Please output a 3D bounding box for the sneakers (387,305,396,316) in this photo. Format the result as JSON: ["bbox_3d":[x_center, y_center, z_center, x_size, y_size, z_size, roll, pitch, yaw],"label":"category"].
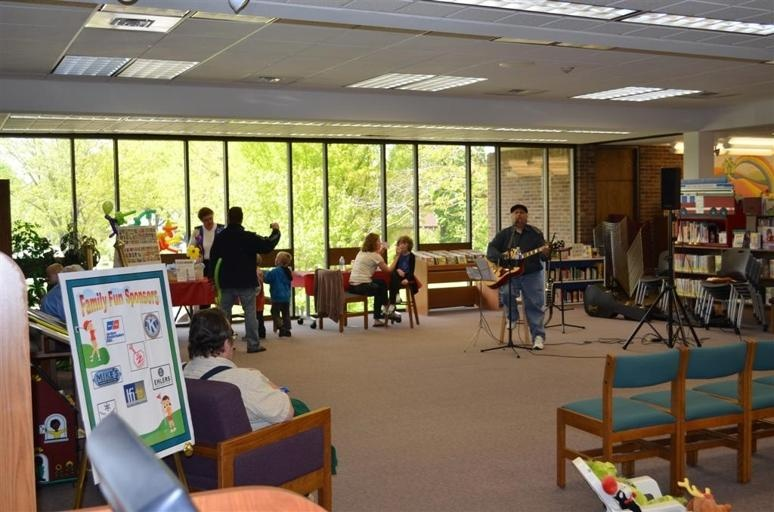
[{"bbox_3d":[0.060,0.986,11.020,0.176,0.193,0.509,-1,-6,4],"label":"sneakers"}]

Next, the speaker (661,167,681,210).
[{"bbox_3d":[4.277,-1.020,8.954,0.252,0.574,0.185,0,-7,39],"label":"speaker"}]

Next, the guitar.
[{"bbox_3d":[1.982,0.137,8.632,1.307,0.476,0.176,-20,-23,24],"label":"guitar"}]

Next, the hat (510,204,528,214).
[{"bbox_3d":[1.946,-0.723,8.798,0.304,0.129,0.414,1,4,8],"label":"hat"}]

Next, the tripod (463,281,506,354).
[{"bbox_3d":[1.945,1.135,11.424,0.982,1.659,1.342,-3,-4,3],"label":"tripod"}]

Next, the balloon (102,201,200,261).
[{"bbox_3d":[-3.988,-0.431,9.843,0.359,0.776,1.141,-38,-14,24],"label":"balloon"}]

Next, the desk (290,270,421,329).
[{"bbox_3d":[-0.235,0.805,10.489,1.012,0.671,1.494,-15,-3,23],"label":"desk"}]

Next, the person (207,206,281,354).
[{"bbox_3d":[-2.102,0.352,8.982,1.101,2.047,1.001,-2,0,2],"label":"person"}]

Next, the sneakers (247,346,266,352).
[{"bbox_3d":[-1.985,1.398,8.992,0.300,0.115,0.097,-2,1,-18],"label":"sneakers"}]

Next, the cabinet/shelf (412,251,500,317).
[{"bbox_3d":[1.364,0.455,12.432,1.891,1.402,1.211,-1,1,-25],"label":"cabinet/shelf"}]

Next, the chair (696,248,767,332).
[{"bbox_3d":[5.737,0.549,9.952,1.000,1.330,0.803,0,6,34],"label":"chair"}]

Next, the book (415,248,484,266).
[{"bbox_3d":[1.257,0.003,12.428,1.389,0.302,0.820,-4,5,-10],"label":"book"}]

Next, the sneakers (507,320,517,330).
[{"bbox_3d":[1.904,1.031,9.024,0.150,0.154,0.381,-1,-4,16],"label":"sneakers"}]

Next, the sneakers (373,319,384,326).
[{"bbox_3d":[-0.161,1.204,10.912,0.224,0.127,0.090,-6,7,-18],"label":"sneakers"}]
